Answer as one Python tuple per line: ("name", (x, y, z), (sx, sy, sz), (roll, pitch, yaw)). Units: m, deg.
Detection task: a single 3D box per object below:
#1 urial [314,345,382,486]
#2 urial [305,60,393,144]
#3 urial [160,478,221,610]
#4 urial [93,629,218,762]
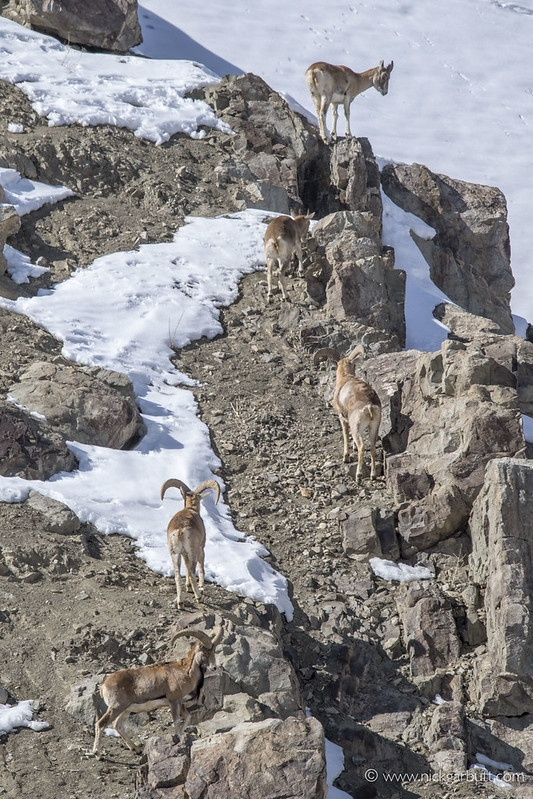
("urial", (1.584, 0.254, 31.573), (0.863, 2.219, 2.599), (-3, 14, -11))
("urial", (2.120, -7.978, 43.923), (2.613, 2.184, 0.605), (0, 10, -38))
("urial", (-0.979, 2.208, 27.778), (0.823, 1.732, 2.077), (-2, 18, 0))
("urial", (-1.625, 4.359, 25.148), (2.238, 1.639, 0.649), (-10, 20, -31))
